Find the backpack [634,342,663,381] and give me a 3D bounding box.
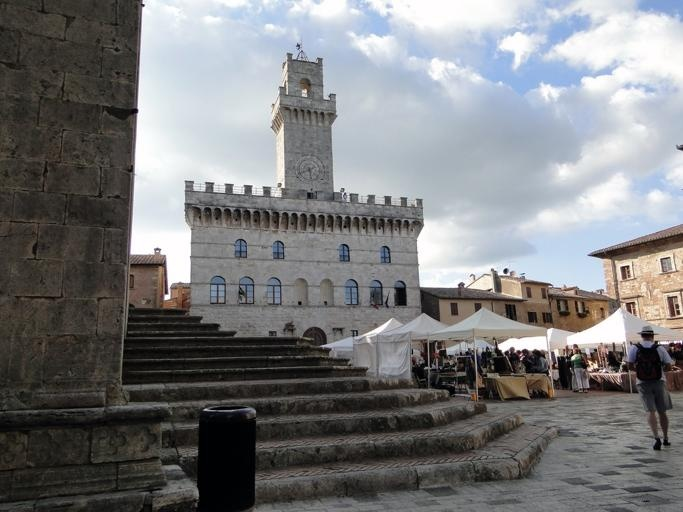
[{"bbox_3d":[4.918,1.692,8.424,0.431,0.588,0.335,-9,-18,39],"label":"backpack"}]
